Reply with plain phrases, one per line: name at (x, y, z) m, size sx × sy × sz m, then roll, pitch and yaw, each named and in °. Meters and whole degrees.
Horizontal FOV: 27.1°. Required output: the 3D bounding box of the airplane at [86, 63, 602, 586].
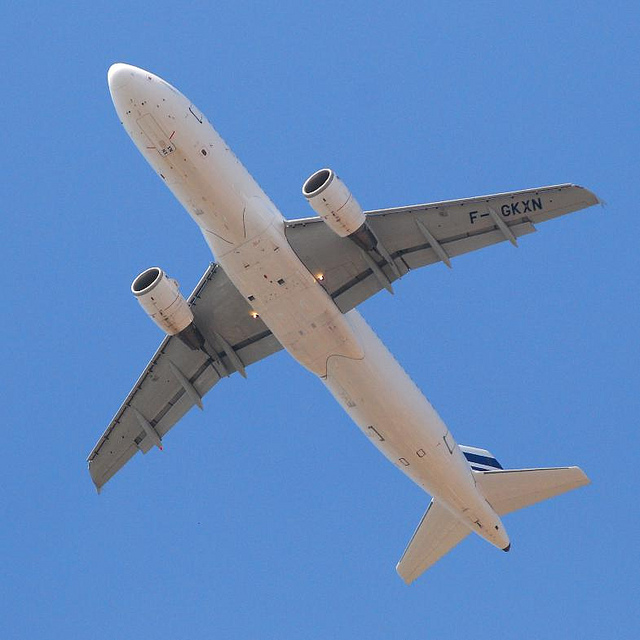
airplane at (-0.030, 0.288, 33.620) m, size 13.239 × 3.690 × 13.866 m, roll -29°, pitch -61°, yaw 24°
